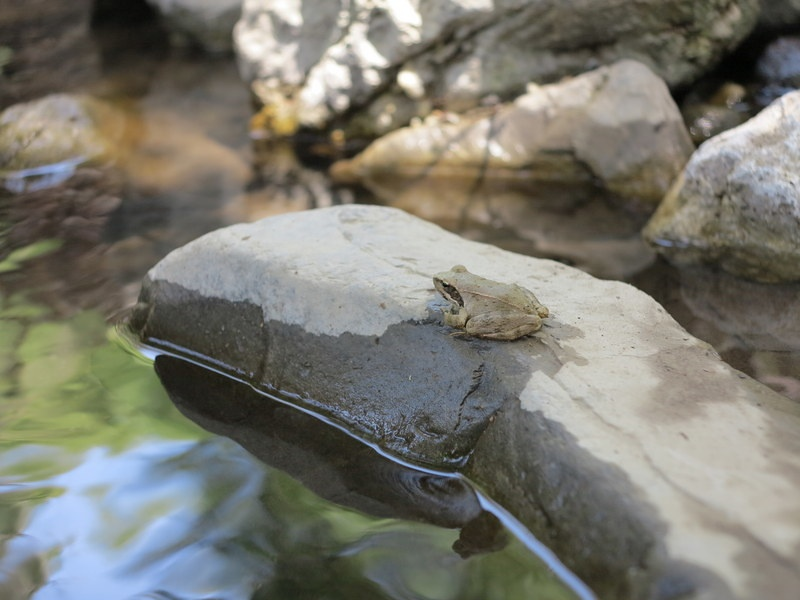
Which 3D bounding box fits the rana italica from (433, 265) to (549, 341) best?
[{"bbox_3d":[0.521,0.031,5.607,0.732,0.232,0.416,23,56,13],"label":"rana italica"}]
